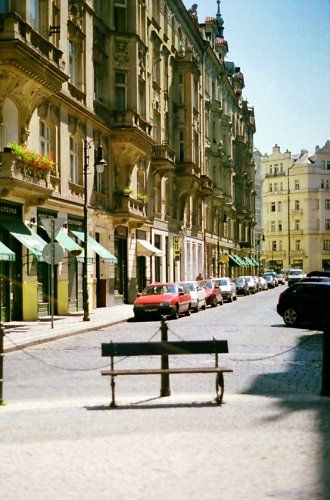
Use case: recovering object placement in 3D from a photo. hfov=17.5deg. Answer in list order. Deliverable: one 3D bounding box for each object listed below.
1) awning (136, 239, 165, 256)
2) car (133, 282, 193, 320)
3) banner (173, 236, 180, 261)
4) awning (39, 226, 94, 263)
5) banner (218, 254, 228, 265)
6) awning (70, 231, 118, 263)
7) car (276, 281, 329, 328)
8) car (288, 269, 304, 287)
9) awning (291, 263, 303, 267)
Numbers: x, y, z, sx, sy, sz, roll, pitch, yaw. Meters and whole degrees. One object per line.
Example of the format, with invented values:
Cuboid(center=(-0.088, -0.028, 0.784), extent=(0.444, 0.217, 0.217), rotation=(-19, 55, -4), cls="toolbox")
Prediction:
Cuboid(center=(-0.653, -0.176, 42.404), extent=(0.767, 0.870, 2.276), rotation=(0, -7, 6), cls="awning")
Cuboid(center=(-0.010, 1.403, 30.252), extent=(1.104, 1.175, 3.021), rotation=(-4, -4, 15), cls="car")
Cuboid(center=(0.512, -0.206, 50.756), extent=(0.301, 1.207, 0.915), rotation=(0, -5, -3), cls="banner")
Cuboid(center=(-2.715, -0.124, 29.813), extent=(0.426, 0.859, 1.644), rotation=(-7, -21, 18), cls="awning")
Cuboid(center=(3.543, 0.539, 67.027), extent=(0.188, 0.665, 0.502), rotation=(12, 11, 38), cls="banner")
Cuboid(center=(-2.070, -0.118, 33.259), extent=(0.731, 0.619, 1.252), rotation=(5, -14, 20), cls="awning")
Cuboid(center=(3.257, 1.248, 25.277), extent=(1.430, 0.939, 0.912), rotation=(-7, -4, 30), cls="car")
Cuboid(center=(7.735, 1.483, 63.825), extent=(0.800, 1.149, 1.813), rotation=(-2, -9, 8), cls="car")
Cuboid(center=(14.493, 1.409, 118.743), extent=(0.145, 0.393, 2.431), rotation=(2, -7, -22), cls="awning")
